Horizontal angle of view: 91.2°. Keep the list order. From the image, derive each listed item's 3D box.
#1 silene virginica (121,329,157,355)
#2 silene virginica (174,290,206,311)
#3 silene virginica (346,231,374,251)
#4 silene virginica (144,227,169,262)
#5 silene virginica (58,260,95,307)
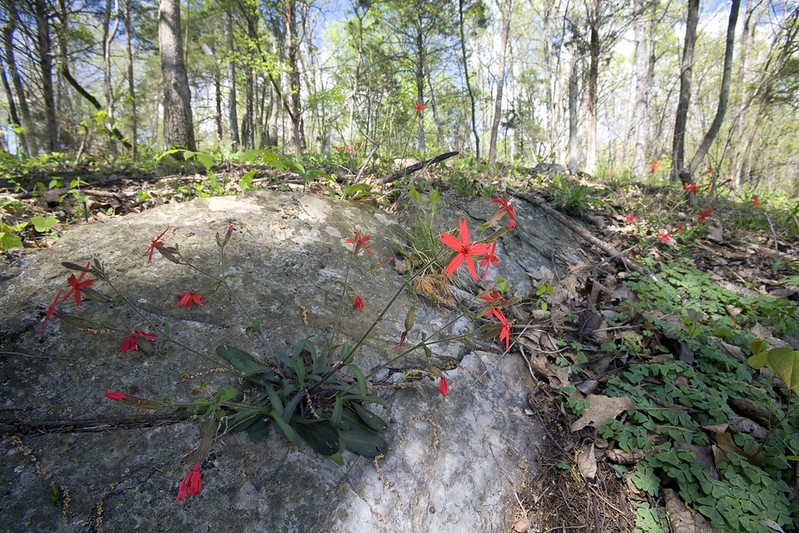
[{"bbox_3d":[-1.677,0.450,2.330,0.169,0.169,0.074,8,-13,-3],"label":"silene virginica"},{"bbox_3d":[-1.484,0.216,2.585,0.179,0.118,0.079,-6,20,-27],"label":"silene virginica"},{"bbox_3d":[-0.364,-0.197,3.168,0.247,0.106,0.244,8,17,-10],"label":"silene virginica"},{"bbox_3d":[-1.833,-0.151,2.758,0.058,0.210,0.216,23,-29,-33],"label":"silene virginica"},{"bbox_3d":[-2.012,0.118,2.290,0.181,0.056,0.232,-26,61,-8],"label":"silene virginica"}]
